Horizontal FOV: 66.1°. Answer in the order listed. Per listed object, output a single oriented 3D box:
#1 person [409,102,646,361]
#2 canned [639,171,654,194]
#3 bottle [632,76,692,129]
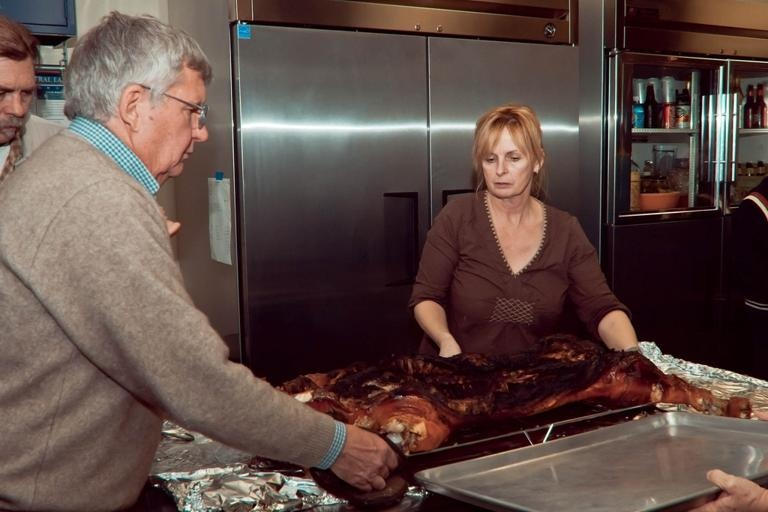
[{"bbox_3d":[0.531,0.065,2.336,0.831,1.241,0.748,0,19,3],"label":"person"},{"bbox_3d":[1.861,-0.513,4.170,0.096,0.130,0.182,9,20,14],"label":"canned"},{"bbox_3d":[1.952,-1.075,4.161,0.425,0.430,0.145,0,0,-2],"label":"bottle"}]
